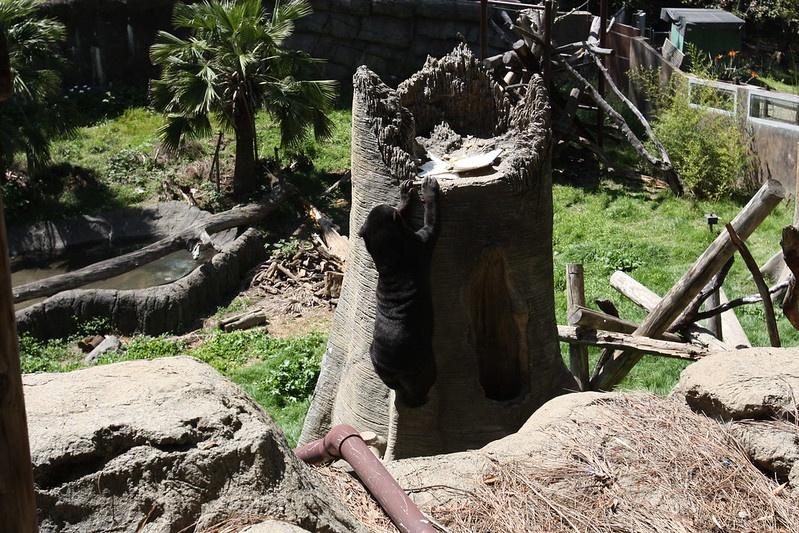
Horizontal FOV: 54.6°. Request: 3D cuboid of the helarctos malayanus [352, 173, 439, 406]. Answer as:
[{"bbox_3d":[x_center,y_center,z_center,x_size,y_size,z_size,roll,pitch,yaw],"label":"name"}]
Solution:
[{"bbox_3d":[0.018,0.358,8.897,0.881,2.654,0.588,-1,19,-3],"label":"helarctos malayanus"}]
